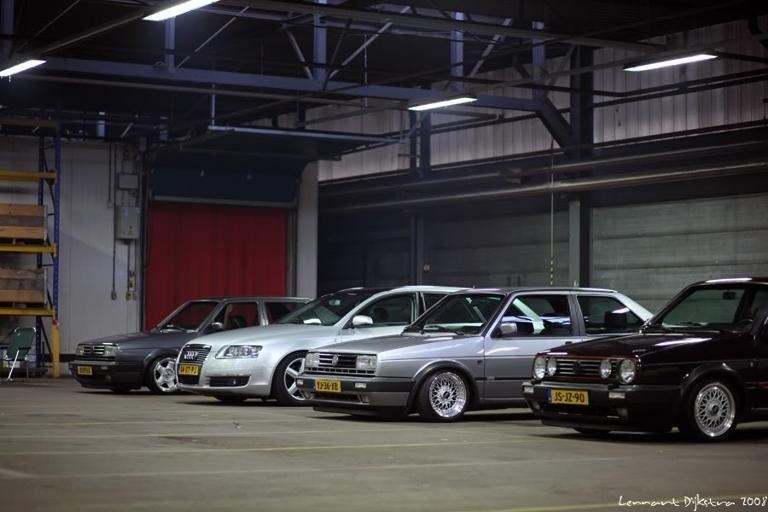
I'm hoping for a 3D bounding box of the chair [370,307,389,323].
[{"bbox_3d":[-0.056,0.995,14.829,0.346,0.222,0.310,6,-7,29],"label":"chair"}]
